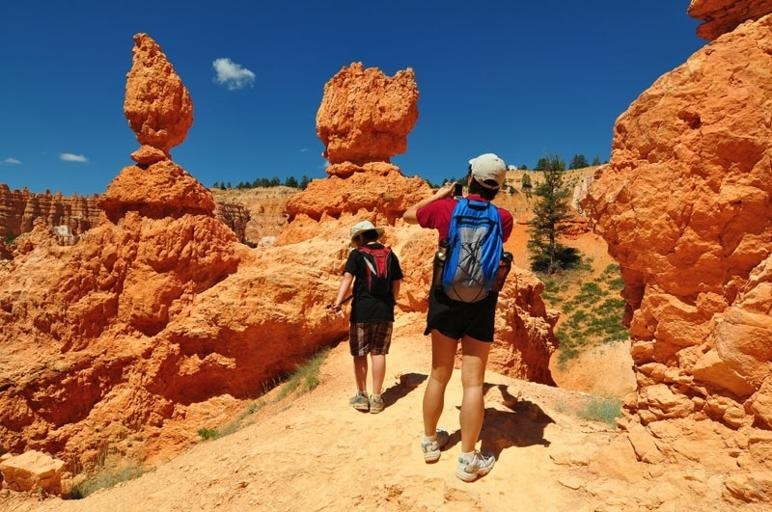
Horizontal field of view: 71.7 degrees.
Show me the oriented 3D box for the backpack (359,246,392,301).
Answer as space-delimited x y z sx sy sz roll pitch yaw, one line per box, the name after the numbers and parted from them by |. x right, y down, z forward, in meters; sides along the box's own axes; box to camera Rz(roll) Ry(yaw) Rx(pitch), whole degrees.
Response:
-0.115 0.243 7.687 0.497 0.785 0.440 1 -21 -9 | backpack

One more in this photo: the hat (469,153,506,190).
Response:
1.255 -1.093 6.315 0.428 0.307 0.573 12 39 6 | hat

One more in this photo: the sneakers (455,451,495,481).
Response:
0.996 2.348 6.182 0.489 0.242 0.244 -5 3 -38 | sneakers
